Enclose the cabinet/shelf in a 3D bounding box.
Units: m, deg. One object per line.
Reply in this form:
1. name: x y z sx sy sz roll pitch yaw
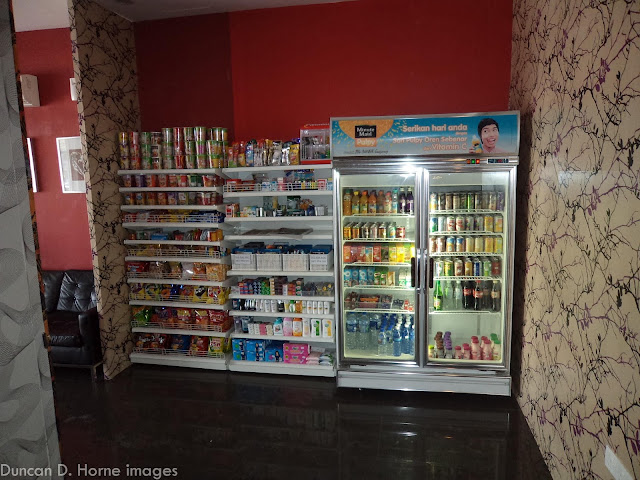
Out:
1. cabinet/shelf: -1.000 0.295 5.533 2.532 2.337 0.888 1 2 8
